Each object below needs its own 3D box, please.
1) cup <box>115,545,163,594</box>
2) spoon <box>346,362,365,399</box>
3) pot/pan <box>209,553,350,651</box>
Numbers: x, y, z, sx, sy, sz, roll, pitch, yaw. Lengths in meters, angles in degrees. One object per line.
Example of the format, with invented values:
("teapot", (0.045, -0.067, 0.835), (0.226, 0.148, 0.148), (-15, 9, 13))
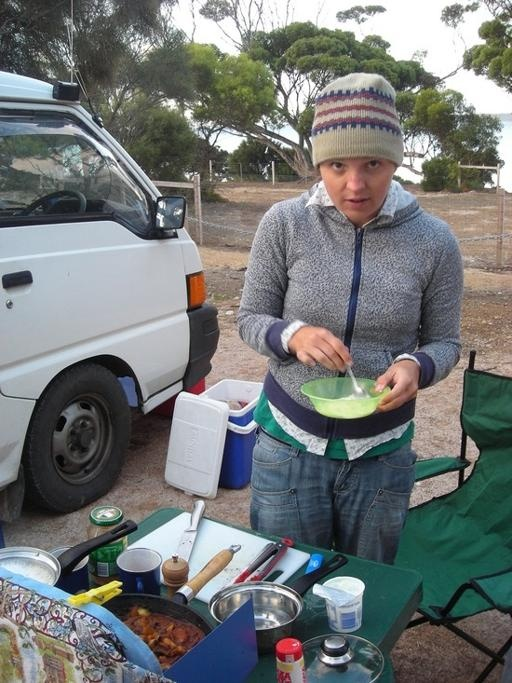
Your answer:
("cup", (-0.258, 0.497, 1.241), (0.118, 0.083, 0.102), (-4, 10, -18))
("spoon", (0.258, 0.102, 1.468), (0.017, 0.024, 0.117), (31, 28, -28))
("pot/pan", (0.058, 0.530, 1.298), (0.413, 0.131, 0.253), (0, 13, 1))
